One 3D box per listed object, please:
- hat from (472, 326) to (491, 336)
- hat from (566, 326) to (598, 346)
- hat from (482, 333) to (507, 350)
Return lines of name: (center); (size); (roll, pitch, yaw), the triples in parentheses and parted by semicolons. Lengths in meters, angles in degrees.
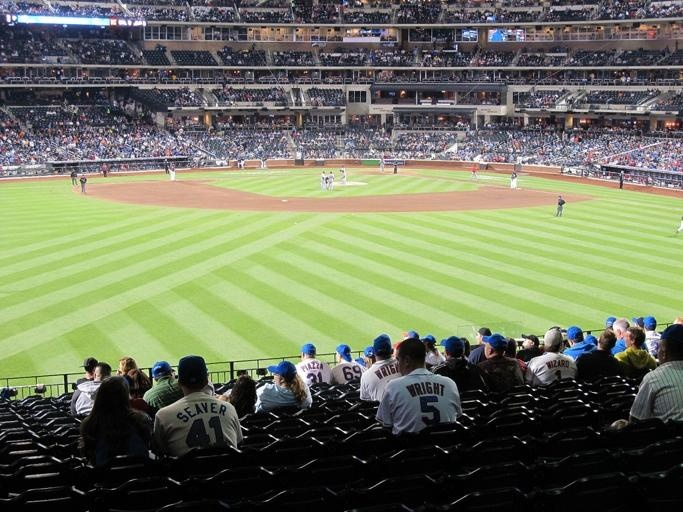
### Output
hat: (2.993, 1.613, 17.129); (0.306, 0.208, 0.422); (0, 17, -12)
hat: (4.991, 1.633, 17.005); (0.524, 0.377, 0.670); (3, -5, -3)
hat: (2.548, 1.386, 13.465); (0.330, 0.162, 0.237); (17, 27, 41)
